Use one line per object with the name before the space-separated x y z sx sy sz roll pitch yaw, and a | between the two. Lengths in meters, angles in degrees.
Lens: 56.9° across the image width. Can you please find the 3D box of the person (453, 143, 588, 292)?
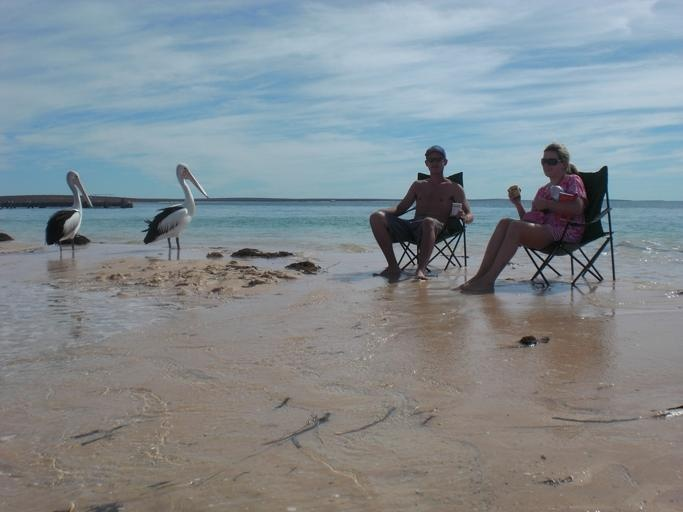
person | 2.157 -0.456 7.178 1.090 1.629 1.371 4 9 35

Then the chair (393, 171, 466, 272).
chair | 1.309 -0.372 10.463 1.228 1.098 0.967 -6 10 -20

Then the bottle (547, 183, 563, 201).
bottle | 2.432 -0.705 7.139 0.136 0.166 0.233 1 7 17
